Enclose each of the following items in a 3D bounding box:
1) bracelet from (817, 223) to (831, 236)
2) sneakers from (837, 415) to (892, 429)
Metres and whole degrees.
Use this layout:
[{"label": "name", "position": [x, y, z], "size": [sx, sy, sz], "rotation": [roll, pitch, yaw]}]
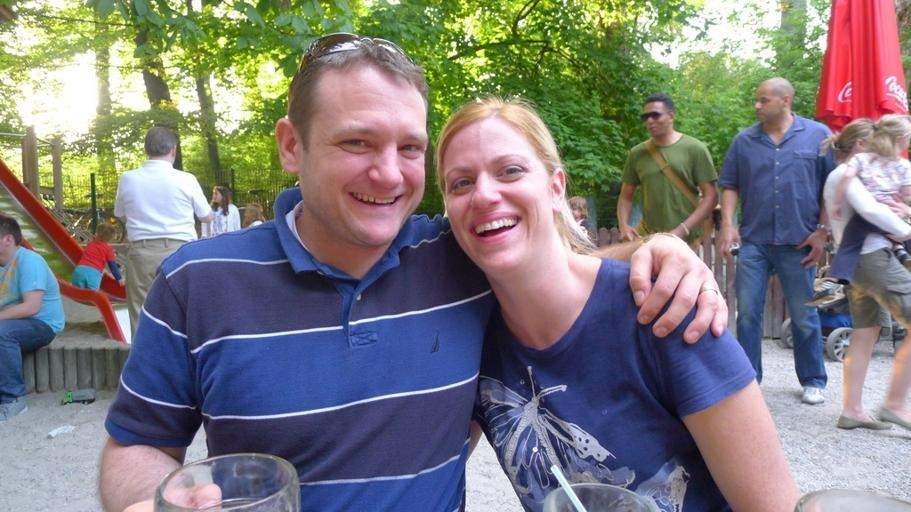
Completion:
[{"label": "bracelet", "position": [4.090, -0.299, 7.258], "size": [0.112, 0.107, 0.116], "rotation": [17, 9, -2]}, {"label": "sneakers", "position": [4.152, 1.728, 6.681], "size": [0.541, 0.133, 0.183], "rotation": [-1, -6, 0]}]
